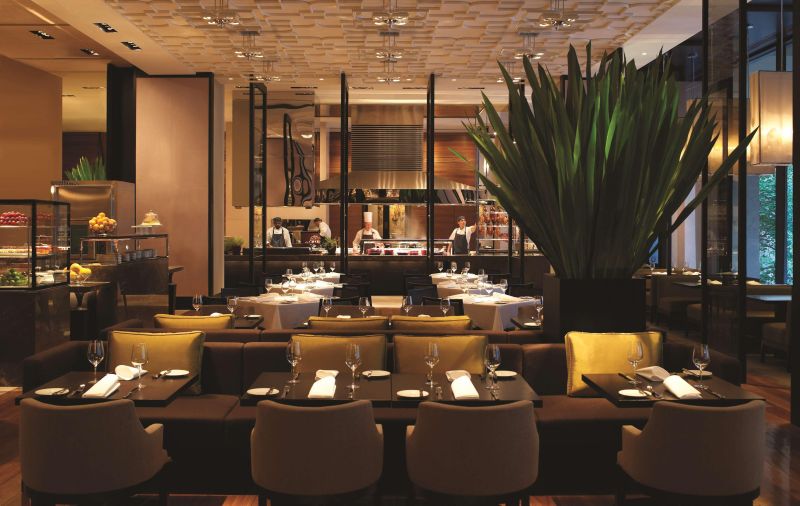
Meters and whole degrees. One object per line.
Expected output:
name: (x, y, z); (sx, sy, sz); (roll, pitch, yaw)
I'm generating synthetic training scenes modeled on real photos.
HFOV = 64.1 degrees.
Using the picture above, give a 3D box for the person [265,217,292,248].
person: (-2.739, -0.469, 14.222); (0.500, 0.624, 0.741); (-3, 4, -11)

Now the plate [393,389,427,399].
plate: (0.097, 1.190, 5.397); (0.271, 0.037, 0.184); (-2, 4, -1)

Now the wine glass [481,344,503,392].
wine glass: (0.810, 0.971, 5.666); (0.130, 0.371, 0.394); (-2, 4, 7)

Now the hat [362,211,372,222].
hat: (-0.907, -1.012, 17.591); (0.308, 0.309, 0.347); (0, -1, -5)

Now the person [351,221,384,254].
person: (-0.767, -0.394, 15.508); (0.817, 1.179, 0.635); (0, -9, -5)

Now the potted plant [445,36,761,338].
potted plant: (1.968, -0.674, 7.324); (2.664, 3.370, 3.001); (-1, 0, 4)

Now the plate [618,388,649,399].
plate: (1.974, 1.192, 5.402); (0.257, 0.035, 0.170); (-2, 4, -3)

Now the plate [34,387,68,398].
plate: (-2.964, 1.181, 5.431); (0.296, 0.034, 0.198); (-2, 4, 3)
